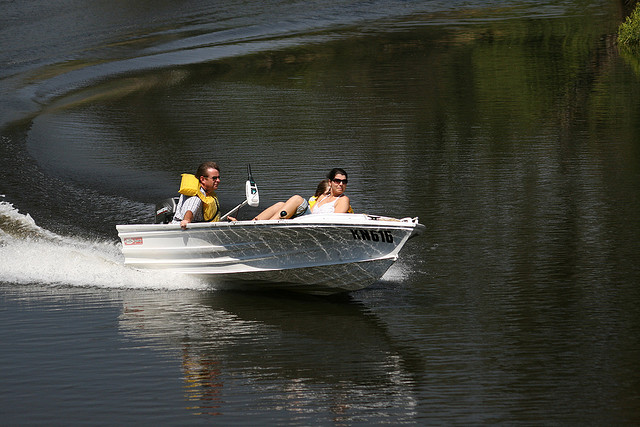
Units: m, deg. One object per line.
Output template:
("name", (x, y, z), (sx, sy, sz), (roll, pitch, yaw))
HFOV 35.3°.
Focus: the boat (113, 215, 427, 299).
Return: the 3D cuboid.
("boat", (-0.747, 0.774, 18.035), (6.065, 1.023, 2.404), (-2, -8, 40))
